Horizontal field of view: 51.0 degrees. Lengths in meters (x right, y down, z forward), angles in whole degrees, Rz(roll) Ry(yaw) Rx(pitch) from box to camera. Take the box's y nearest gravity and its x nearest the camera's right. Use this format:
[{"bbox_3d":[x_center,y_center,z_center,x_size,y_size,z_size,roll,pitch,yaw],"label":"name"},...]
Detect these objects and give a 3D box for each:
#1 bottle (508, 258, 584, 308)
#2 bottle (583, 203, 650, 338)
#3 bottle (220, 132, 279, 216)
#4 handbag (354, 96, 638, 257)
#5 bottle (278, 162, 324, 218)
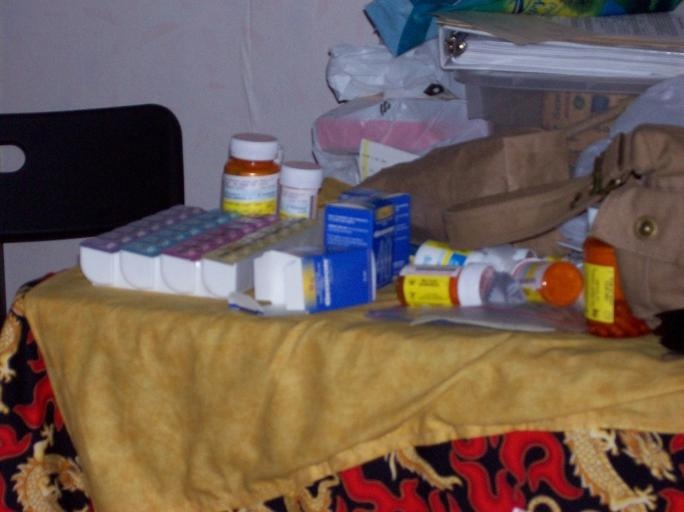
[{"bbox_3d":[0.298,0.036,1.046,0.072,0.081,0.115,-14,13,-32],"label":"bottle"},{"bbox_3d":[0.358,0.016,1.038,0.119,0.157,0.136,-10,13,2],"label":"bottle"},{"bbox_3d":[-0.160,-0.137,1.255,0.105,0.128,0.076,-5,24,-9],"label":"bottle"},{"bbox_3d":[0.244,-0.052,1.196,0.362,0.150,0.286,-11,15,28],"label":"handbag"},{"bbox_3d":[-0.078,-0.123,1.259,0.083,0.093,0.082,-6,16,-35],"label":"bottle"}]
